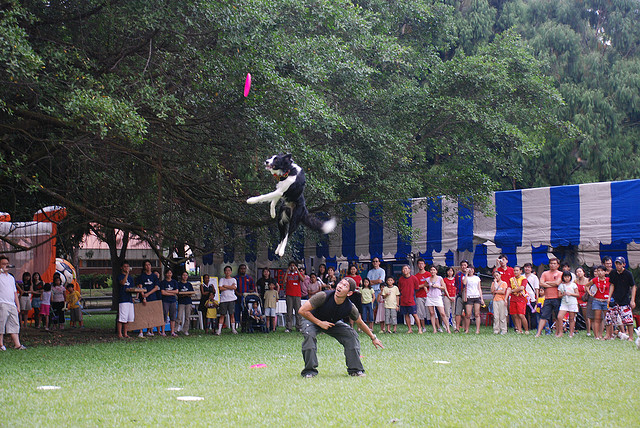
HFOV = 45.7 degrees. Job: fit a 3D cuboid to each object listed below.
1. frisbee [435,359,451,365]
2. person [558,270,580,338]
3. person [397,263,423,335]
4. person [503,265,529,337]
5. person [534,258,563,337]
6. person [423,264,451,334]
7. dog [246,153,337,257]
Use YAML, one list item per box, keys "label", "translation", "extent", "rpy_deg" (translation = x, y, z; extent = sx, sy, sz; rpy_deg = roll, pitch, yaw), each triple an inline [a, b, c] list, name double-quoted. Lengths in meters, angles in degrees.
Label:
- label: "frisbee"
  translation: [2.768, 3.343, 17.048]
  extent: [0.377, 0.076, 0.392]
  rpy_deg: [-3, -10, 2]
- label: "person"
  translation: [6.977, 2.514, 21.307]
  extent: [0.609, 1.848, 0.361]
  rpy_deg: [-4, -8, 18]
- label: "person"
  translation: [2.757, 2.615, 23.277]
  extent: [0.707, 2.122, 1.198]
  rpy_deg: [-2, -8, 1]
- label: "person"
  translation: [5.867, 2.582, 22.616]
  extent: [0.693, 2.008, 0.814]
  rpy_deg: [-4, -8, 19]
- label: "person"
  translation: [6.622, 2.391, 21.785]
  extent: [0.751, 2.292, 0.610]
  rpy_deg: [-2, 5, 10]
- label: "person"
  translation: [3.521, 2.570, 22.889]
  extent: [0.746, 2.046, 0.560]
  rpy_deg: [-2, -7, 7]
- label: "dog"
  translation: [-0.660, -0.177, 16.178]
  extent: [1.622, 2.148, 0.743]
  rpy_deg: [4, -9, -34]
